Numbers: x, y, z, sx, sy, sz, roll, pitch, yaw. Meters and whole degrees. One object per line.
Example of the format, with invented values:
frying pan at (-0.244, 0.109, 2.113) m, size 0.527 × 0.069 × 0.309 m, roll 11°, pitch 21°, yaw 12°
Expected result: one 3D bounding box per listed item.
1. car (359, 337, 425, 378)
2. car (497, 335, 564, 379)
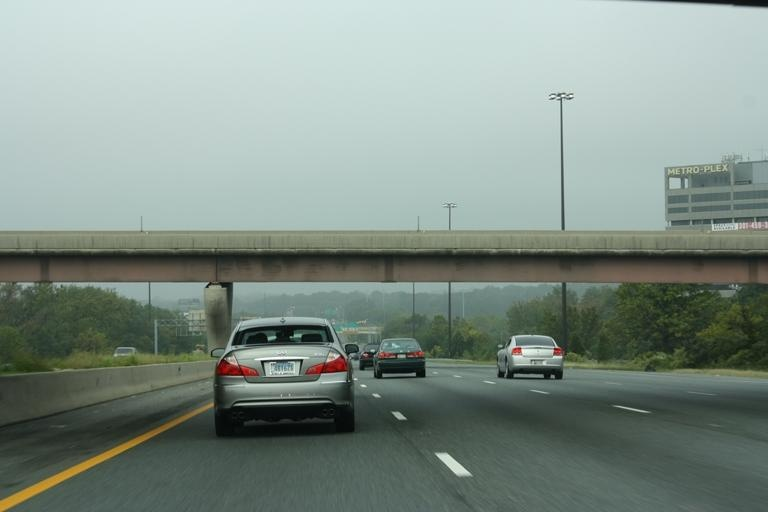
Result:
car at (0.656, 4.372, 44.496) m, size 2.103 × 1.661 × 1.002 m, roll -2°, pitch -4°, yaw -9°
car at (6.004, 4.116, 42.514) m, size 2.113 × 1.838 × 3.175 m, roll -2°, pitch -5°, yaw -7°
